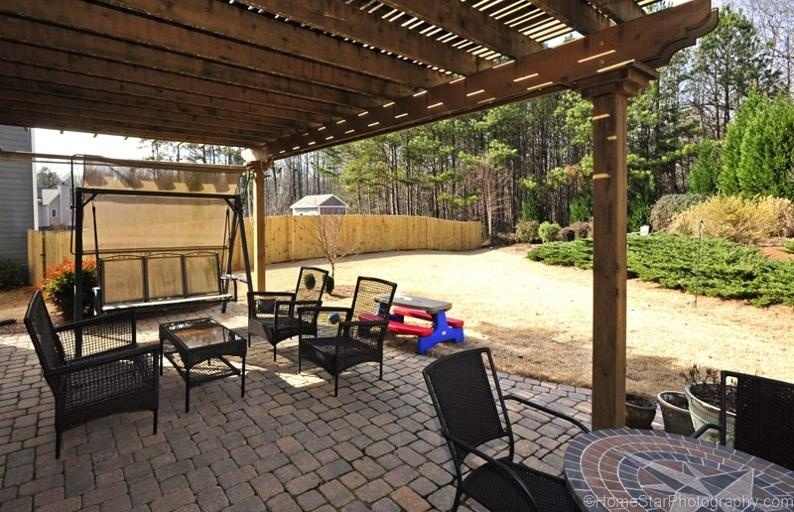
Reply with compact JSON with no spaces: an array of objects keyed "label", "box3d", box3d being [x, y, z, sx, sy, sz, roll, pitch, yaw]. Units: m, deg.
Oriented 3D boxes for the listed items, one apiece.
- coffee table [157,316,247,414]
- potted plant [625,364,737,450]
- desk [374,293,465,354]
[{"label":"coffee table","box3d":[-2.900,1.507,6.947,1.028,0.881,1.881,18,-7,-1]},{"label":"potted plant","box3d":[3.288,1.645,5.761,1.025,0.727,1.048,0,0,22]},{"label":"desk","box3d":[0.452,1.056,8.310,1.021,0.642,1.551,0,2,-34]}]
